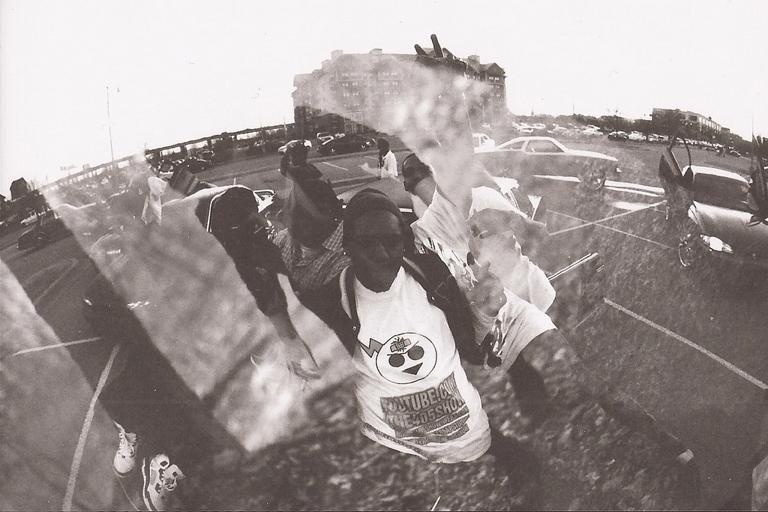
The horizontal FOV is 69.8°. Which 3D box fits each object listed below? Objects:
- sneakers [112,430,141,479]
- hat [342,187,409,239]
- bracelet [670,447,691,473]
[{"bbox_3d":[-1.633,1.263,3.518,0.115,0.401,0.157,1,10,-18],"label":"sneakers"},{"bbox_3d":[-0.092,-0.278,3.215,0.225,0.344,0.192,-4,10,-2],"label":"hat"},{"bbox_3d":[1.895,1.307,3.521,0.107,0.118,0.033,-27,1,6],"label":"bracelet"}]
